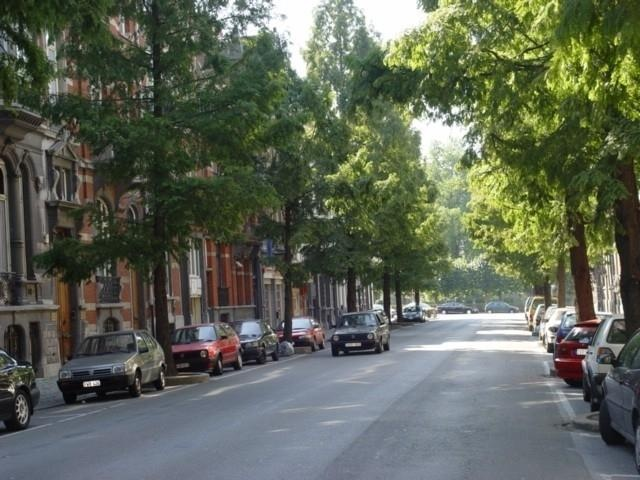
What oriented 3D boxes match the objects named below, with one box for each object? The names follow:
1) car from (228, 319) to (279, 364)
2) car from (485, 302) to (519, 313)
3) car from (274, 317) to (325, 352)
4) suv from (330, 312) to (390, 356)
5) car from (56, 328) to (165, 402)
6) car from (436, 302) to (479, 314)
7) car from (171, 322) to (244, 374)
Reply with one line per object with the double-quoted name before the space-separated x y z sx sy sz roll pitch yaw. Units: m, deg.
"car" -2.612 4.279 30.950 1.060 1.163 2.496 -2 -11 9
"car" 26.689 10.075 108.294 4.499 1.953 3.025 -3 -11 -10
"car" -0.691 4.860 37.655 1.271 1.934 3.329 -5 -11 6
"suv" 1.913 4.017 31.824 1.275 1.242 2.813 -3 -12 10
"car" -5.849 3.552 20.834 1.901 1.963 2.847 -6 -11 10
"car" 19.818 10.106 106.488 5.202 2.082 3.834 -7 -12 9
"car" -4.014 3.968 26.774 1.347 1.365 2.562 -4 -13 13
